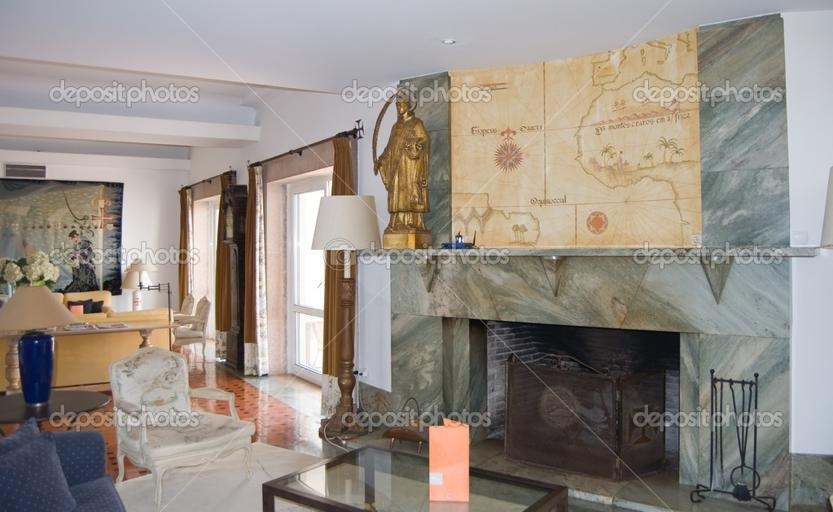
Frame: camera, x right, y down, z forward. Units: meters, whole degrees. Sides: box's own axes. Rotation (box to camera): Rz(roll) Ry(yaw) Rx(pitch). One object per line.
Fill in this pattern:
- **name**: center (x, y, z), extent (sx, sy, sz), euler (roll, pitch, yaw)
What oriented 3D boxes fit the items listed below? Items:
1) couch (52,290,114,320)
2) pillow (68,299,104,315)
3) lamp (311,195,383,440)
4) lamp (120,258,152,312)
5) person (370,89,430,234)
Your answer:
- **couch**: center (-4.571, 0.664, 9.143), extent (0.630, 0.397, 0.335), euler (-2, 0, -34)
- **pillow**: center (-5.097, 0.763, 10.391), extent (0.102, 0.310, 0.350), euler (-15, -7, 36)
- **lamp**: center (-0.667, 0.616, 6.520), extent (0.623, 2.403, 1.004), euler (-1, -2, -4)
- **lamp**: center (-4.912, 0.520, 11.694), extent (0.561, 0.962, 0.579), euler (4, 3, 31)
- **person**: center (-0.137, -0.877, 6.293), extent (0.500, 1.297, 0.200), euler (-1, -2, -4)
